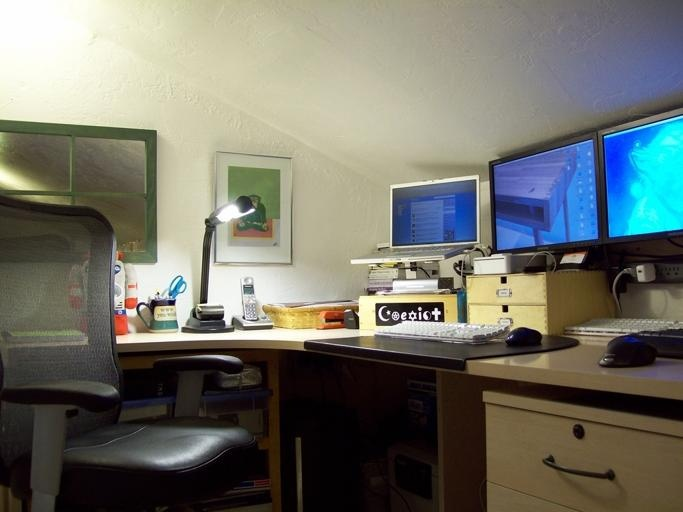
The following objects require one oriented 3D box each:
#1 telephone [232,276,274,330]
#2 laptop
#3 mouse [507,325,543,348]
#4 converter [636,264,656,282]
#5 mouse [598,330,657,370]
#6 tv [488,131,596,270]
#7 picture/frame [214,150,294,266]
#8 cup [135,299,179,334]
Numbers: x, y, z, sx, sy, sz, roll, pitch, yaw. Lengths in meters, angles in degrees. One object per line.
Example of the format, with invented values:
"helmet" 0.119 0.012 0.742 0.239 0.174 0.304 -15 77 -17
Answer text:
"telephone" -0.479 0.241 2.514 0.188 0.307 0.251 3 -14 -26
"laptop" 0.367 -0.198 2.437 0.653 0.473 0.398 -2 -2 35
"mouse" 0.563 0.246 1.566 0.115 0.055 0.052 -1 -1 -7
"converter" 1.137 0.062 1.919 0.058 0.056 0.030 4 -10 -21
"mouse" 0.717 0.232 1.290 0.177 0.059 0.128 -5 1 -35
"tv" 0.832 -0.229 2.099 0.099 0.394 0.402 2 -4 -37
"picture/frame" -0.488 -0.247 2.757 0.604 0.844 0.031 1 -5 -30
"cup" -0.863 0.288 2.456 0.201 0.181 0.139 0 -3 -13
